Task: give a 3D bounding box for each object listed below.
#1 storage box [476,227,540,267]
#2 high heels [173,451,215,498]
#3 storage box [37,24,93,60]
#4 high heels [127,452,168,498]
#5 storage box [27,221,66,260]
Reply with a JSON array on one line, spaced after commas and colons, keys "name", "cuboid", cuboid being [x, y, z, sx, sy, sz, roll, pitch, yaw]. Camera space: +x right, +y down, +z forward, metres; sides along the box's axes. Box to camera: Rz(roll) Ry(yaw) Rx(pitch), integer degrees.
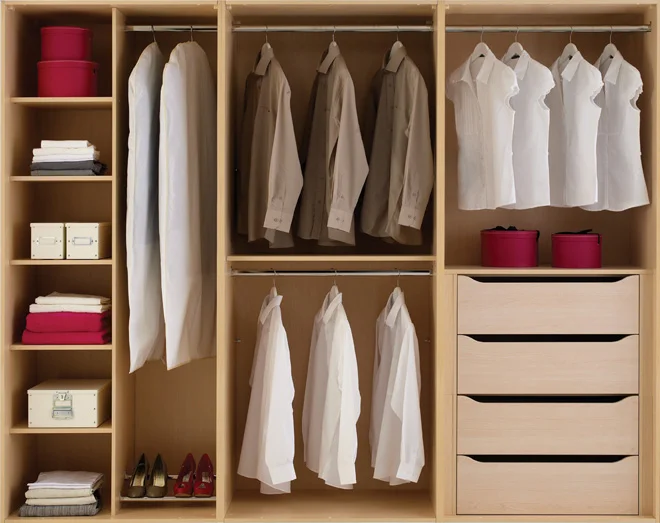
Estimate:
[{"name": "storage box", "cuboid": [0.903, -0.068, 4.084, 0.191, 0.147, 0.214, 1, 2, 5]}, {"name": "high heels", "cuboid": [-0.702, 1.131, 4.264, 0.132, 0.120, 0.268, 1, -3, -5]}, {"name": "storage box", "cuboid": [-1.338, -1.100, 4.137, 0.168, 0.131, 0.189, 2, 6, 4]}, {"name": "high heels", "cuboid": [-0.939, 1.118, 4.224, 0.120, 0.097, 0.245, 2, 3, -5]}, {"name": "storage box", "cuboid": [-1.414, -0.102, 4.047, 0.151, 0.185, 0.169, 0, 0, 7]}]
